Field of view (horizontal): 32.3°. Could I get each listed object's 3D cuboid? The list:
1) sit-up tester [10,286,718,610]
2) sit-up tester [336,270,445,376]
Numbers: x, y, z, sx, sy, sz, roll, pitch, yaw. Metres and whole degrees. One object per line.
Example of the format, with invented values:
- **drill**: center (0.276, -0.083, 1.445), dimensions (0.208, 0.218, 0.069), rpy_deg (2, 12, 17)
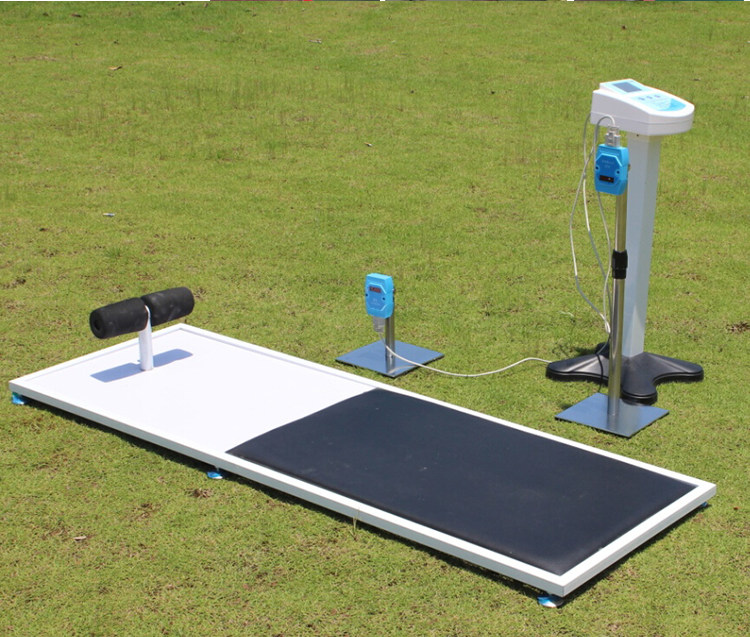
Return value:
- **sit-up tester**: center (0.083, 0.809, 7.796), dimensions (4.498, 0.828, 1.803), rpy_deg (15, 25, 34)
- **sit-up tester**: center (0.103, -0.028, 9.058), dimensions (0.598, 0.655, 0.611), rpy_deg (-16, 23, -41)
